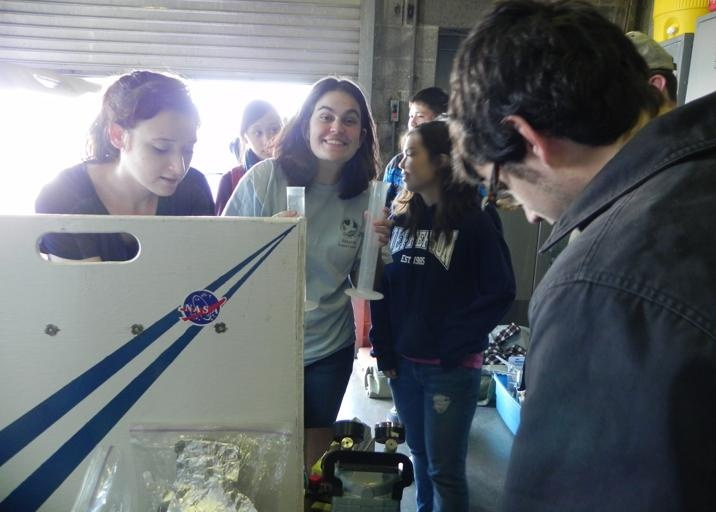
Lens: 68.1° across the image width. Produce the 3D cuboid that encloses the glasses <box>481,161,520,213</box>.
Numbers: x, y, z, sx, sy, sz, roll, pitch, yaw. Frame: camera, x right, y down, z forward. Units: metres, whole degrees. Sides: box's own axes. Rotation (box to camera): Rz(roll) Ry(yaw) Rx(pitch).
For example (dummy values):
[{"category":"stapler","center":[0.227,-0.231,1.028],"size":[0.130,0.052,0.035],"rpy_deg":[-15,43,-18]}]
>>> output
[{"category":"glasses","center":[0.316,-0.155,1.183],"size":[0.050,0.142,0.108],"rpy_deg":[5,15,43]}]
